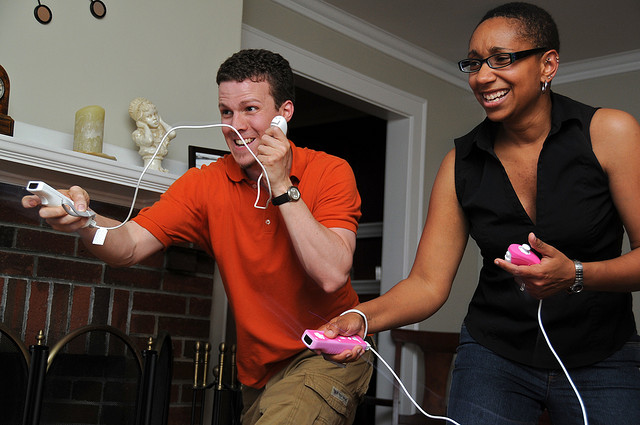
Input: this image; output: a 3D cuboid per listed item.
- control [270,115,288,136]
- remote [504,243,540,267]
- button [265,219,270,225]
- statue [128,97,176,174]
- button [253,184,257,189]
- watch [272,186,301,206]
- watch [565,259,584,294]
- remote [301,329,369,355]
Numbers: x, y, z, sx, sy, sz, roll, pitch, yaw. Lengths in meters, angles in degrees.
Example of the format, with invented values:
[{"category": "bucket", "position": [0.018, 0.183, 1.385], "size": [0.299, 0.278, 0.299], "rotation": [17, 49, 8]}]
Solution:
[{"category": "control", "position": [-0.133, -0.274, 1.682], "size": [0.040, 0.077, 0.045], "rotation": [22, -37, -37]}, {"category": "remote", "position": [0.547, 0.111, 1.426], "size": [0.068, 0.038, 0.059], "rotation": [14, 8, -2]}, {"category": "button", "position": [-0.168, 0.028, 1.721], "size": [0.013, 0.014, 0.004], "rotation": [-2, -10, 3]}, {"category": "statue", "position": [-0.788, -0.361, 2.481], "size": [0.225, 0.371, 0.170], "rotation": [5, -10, -21]}, {"category": "button", "position": [-0.217, -0.088, 1.769], "size": [0.012, 0.014, 0.011], "rotation": [1, -9, 0]}, {"category": "watch", "position": [-0.098, -0.047, 1.636], "size": [0.076, 0.048, 0.080], "rotation": [-17, -7, 26]}, {"category": "watch", "position": [0.712, 0.173, 1.478], "size": [0.043, 0.085, 0.084], "rotation": [-4, -11, 27]}, {"category": "remote", "position": [0.040, 0.325, 1.391], "size": [0.142, 0.035, 0.076], "rotation": [7, 9, -39]}]
